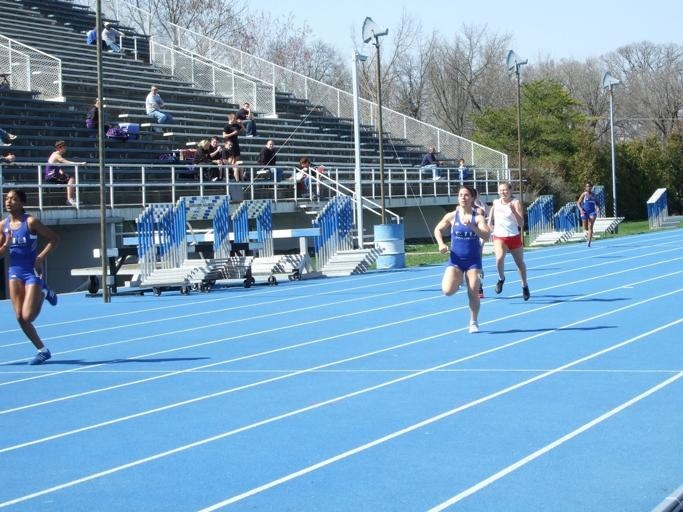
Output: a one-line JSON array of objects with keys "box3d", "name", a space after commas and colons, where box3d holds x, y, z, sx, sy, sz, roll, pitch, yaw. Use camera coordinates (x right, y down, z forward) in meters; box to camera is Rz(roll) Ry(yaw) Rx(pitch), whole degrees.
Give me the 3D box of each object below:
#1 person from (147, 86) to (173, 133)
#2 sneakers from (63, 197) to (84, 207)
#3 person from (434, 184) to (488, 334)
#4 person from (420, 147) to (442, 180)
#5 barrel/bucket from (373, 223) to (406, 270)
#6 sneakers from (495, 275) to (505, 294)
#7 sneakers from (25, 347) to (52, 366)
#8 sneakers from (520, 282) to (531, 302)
[{"box3d": [-6.571, -5.341, 28.776, 0.905, 1.688, 1.698, -2, 5, -14], "name": "person"}, {"box3d": [-7.112, -1.410, 20.973, 0.484, 0.258, 0.185, 6, 9, 40], "name": "sneakers"}, {"box3d": [1.682, 0.095, 10.974, 0.723, 2.087, 1.339, 0, 4, 7], "name": "person"}, {"box3d": [4.138, -4.302, 36.609, 0.826, 1.449, 0.756, -3, 8, 10], "name": "person"}, {"box3d": [1.360, -0.250, 22.355, 0.977, 1.686, 1.076, -1, 7, -7], "name": "barrel/bucket"}, {"box3d": [2.839, 0.538, 14.379, 0.159, 0.249, 0.590, 4, 22, 8], "name": "sneakers"}, {"box3d": [-3.831, 1.294, 10.099, 0.259, 0.133, 0.148, -9, -6, 40], "name": "sneakers"}, {"box3d": [3.171, 0.647, 13.812, 0.145, 0.540, 0.201, -2, -7, 28], "name": "sneakers"}]
